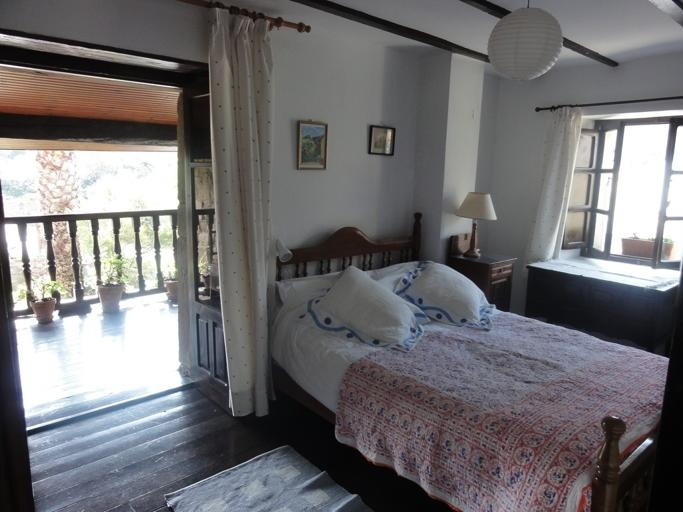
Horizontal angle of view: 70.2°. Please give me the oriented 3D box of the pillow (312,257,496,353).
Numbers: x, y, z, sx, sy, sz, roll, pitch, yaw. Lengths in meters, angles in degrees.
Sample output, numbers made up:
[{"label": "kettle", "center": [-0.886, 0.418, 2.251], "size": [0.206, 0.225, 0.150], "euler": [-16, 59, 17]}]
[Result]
[{"label": "pillow", "center": [0.459, 0.363, 3.660], "size": [0.886, 0.202, 0.735], "euler": [-8, 24, -33]}]

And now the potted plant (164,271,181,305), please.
[{"label": "potted plant", "center": [-2.008, 0.368, 5.725], "size": [0.128, 0.302, 0.400], "euler": [-7, 13, -21]}]

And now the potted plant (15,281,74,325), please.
[{"label": "potted plant", "center": [-3.020, 0.433, 5.023], "size": [0.477, 0.553, 0.392], "euler": [-2, -2, -6]}]

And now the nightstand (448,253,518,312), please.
[{"label": "nightstand", "center": [1.402, 0.309, 4.767], "size": [0.454, 0.558, 0.419], "euler": [-7, 12, -35]}]

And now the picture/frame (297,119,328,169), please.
[{"label": "picture/frame", "center": [-0.246, -0.926, 3.950], "size": [0.383, 0.491, 0.050], "euler": [-5, 14, -39]}]

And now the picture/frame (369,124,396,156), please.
[{"label": "picture/frame", "center": [0.361, -1.052, 4.395], "size": [0.322, 0.281, 0.042], "euler": [-8, 14, -44]}]

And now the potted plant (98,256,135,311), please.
[{"label": "potted plant", "center": [-2.486, 0.293, 5.310], "size": [0.269, 0.610, 0.314], "euler": [12, 8, 32]}]

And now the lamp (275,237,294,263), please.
[{"label": "lamp", "center": [-0.458, -0.042, 3.809], "size": [0.102, 0.107, 0.187], "euler": [8, 41, -28]}]
